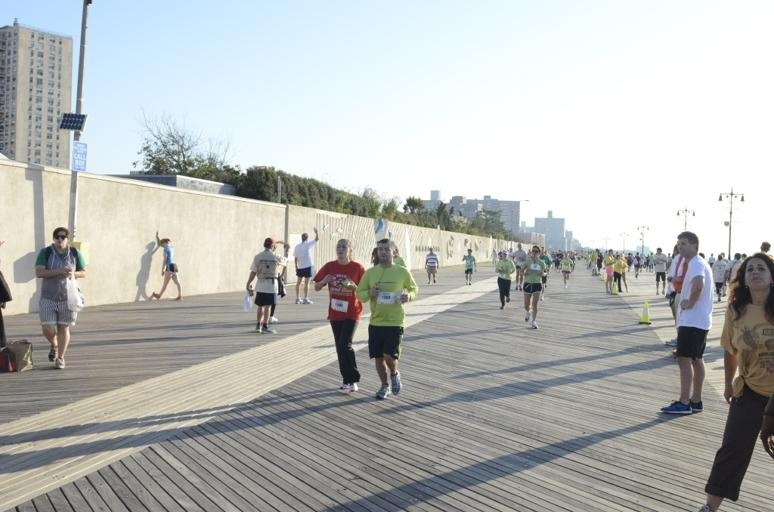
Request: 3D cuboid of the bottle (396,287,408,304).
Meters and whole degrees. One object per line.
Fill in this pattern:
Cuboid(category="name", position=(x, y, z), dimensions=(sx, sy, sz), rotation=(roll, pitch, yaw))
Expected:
Cuboid(category="bottle", position=(0.201, 0.576, 9.432), dimensions=(0.161, 0.247, 0.092), rotation=(0, 1, 2))

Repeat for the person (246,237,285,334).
Cuboid(category="person", position=(-2.683, 0.670, 14.177), dimensions=(0.785, 2.129, 1.257), rotation=(0, 8, -10))

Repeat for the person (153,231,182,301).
Cuboid(category="person", position=(-6.589, 0.347, 19.281), dimensions=(0.780, 2.077, 1.336), rotation=(-2, 9, -19))

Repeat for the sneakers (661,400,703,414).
Cuboid(category="sneakers", position=(4.158, 2.133, 9.236), dimensions=(0.620, 0.274, 0.225), rotation=(2, -7, -4))

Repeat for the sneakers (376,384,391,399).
Cuboid(category="sneakers", position=(-0.074, 2.025, 9.504), dimensions=(0.108, 0.132, 0.293), rotation=(-3, -11, 12))

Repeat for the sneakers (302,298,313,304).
Cuboid(category="sneakers", position=(-2.470, 1.408, 20.119), dimensions=(0.124, 0.165, 0.370), rotation=(2, 8, 14))

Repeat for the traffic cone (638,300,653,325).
Cuboid(category="traffic cone", position=(7.602, 1.697, 19.061), dimensions=(0.439, 0.793, 0.484), rotation=(-2, 4, -3))

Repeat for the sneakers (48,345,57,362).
Cuboid(category="sneakers", position=(-5.476, 1.616, 10.557), dimensions=(0.091, 0.288, 0.116), rotation=(15, -38, -28))

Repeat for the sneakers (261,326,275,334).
Cuboid(category="sneakers", position=(-2.578, 1.592, 13.830), dimensions=(0.248, 0.116, 0.141), rotation=(5, 7, -12))

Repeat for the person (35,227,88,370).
Cuboid(category="person", position=(-5.282, 0.681, 10.452), dimensions=(0.680, 2.288, 0.741), rotation=(-3, 9, -30))

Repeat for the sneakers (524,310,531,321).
Cuboid(category="sneakers", position=(3.587, 1.545, 16.634), dimensions=(0.153, 0.183, 0.446), rotation=(-3, 26, 19))

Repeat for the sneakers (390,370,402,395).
Cuboid(category="sneakers", position=(0.120, 1.889, 9.563), dimensions=(0.140, 0.373, 0.148), rotation=(-2, 11, 14))
